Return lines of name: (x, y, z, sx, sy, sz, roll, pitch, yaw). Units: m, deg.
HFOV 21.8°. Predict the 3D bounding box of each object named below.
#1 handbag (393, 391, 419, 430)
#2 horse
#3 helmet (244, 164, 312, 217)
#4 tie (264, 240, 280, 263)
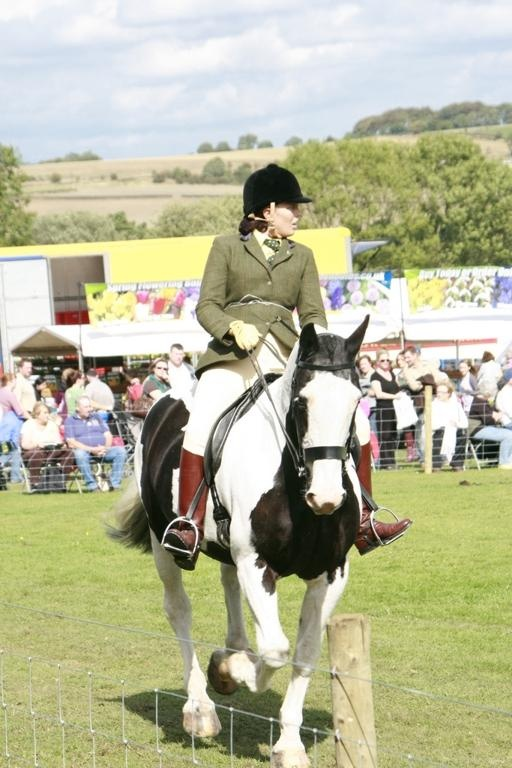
handbag: (2.012, 0.360, 17.978, 0.141, 0.450, 0.340, -9, 6, -44)
horse: (-0.016, 0.845, 7.533, 0.831, 2.479, 2.572, -4, 6, -18)
helmet: (0.119, -1.127, 7.710, 0.363, 0.228, 0.256, 0, 10, 18)
tie: (0.093, -0.784, 7.725, 0.082, 0.141, 0.050, 3, -16, -2)
